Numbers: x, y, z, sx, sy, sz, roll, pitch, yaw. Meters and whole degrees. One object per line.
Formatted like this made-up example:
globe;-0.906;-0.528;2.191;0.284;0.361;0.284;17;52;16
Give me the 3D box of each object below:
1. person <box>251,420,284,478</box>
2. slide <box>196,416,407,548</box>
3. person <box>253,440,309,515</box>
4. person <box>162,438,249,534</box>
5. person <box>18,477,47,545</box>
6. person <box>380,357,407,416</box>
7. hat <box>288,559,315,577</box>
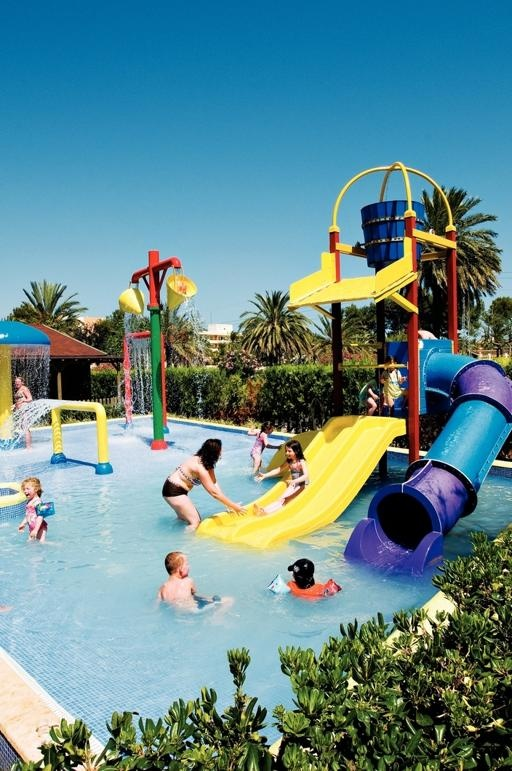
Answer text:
person;0.106;1.175;10.895;0.464;1.158;0.400;12;19;17
slide;0.648;1.211;7.374;1.212;1.004;2.454;-4;6;43
person;0.300;1.081;7.451;0.483;0.739;0.905;-1;12;39
person;-0.640;1.119;7.019;0.900;1.076;0.379;1;4;37
person;-2.502;1.396;6.863;0.262;0.717;0.348;-2;3;-17
person;1.946;-0.026;8.583;0.377;0.740;0.372;-7;7;36
hat;0.375;1.517;5.073;0.188;0.114;0.140;19;16;41
